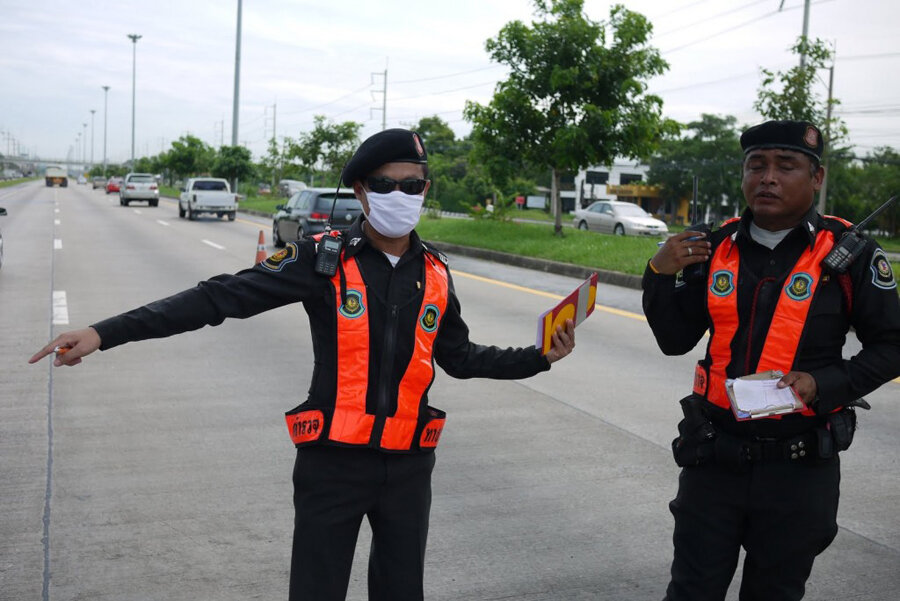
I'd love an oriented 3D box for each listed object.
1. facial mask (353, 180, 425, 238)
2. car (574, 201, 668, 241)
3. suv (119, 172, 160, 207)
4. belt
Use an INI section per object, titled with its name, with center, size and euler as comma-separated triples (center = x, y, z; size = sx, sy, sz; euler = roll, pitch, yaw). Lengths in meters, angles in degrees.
[facial mask]
center = -0.226, -0.369, 3.069
size = 0.264, 0.196, 0.261
euler = 3, 3, -12
[car]
center = 7.220, -3.411, 30.950
size = 1.927, 1.603, 4.858
euler = 2, 7, -22
[suv]
center = -20.408, -7.451, 47.854
size = 1.827, 1.597, 3.506
euler = -3, 11, -19
[belt]
center = 1.296, 0.571, 2.968
size = 0.712, 0.275, 0.203
euler = 3, 10, 8
